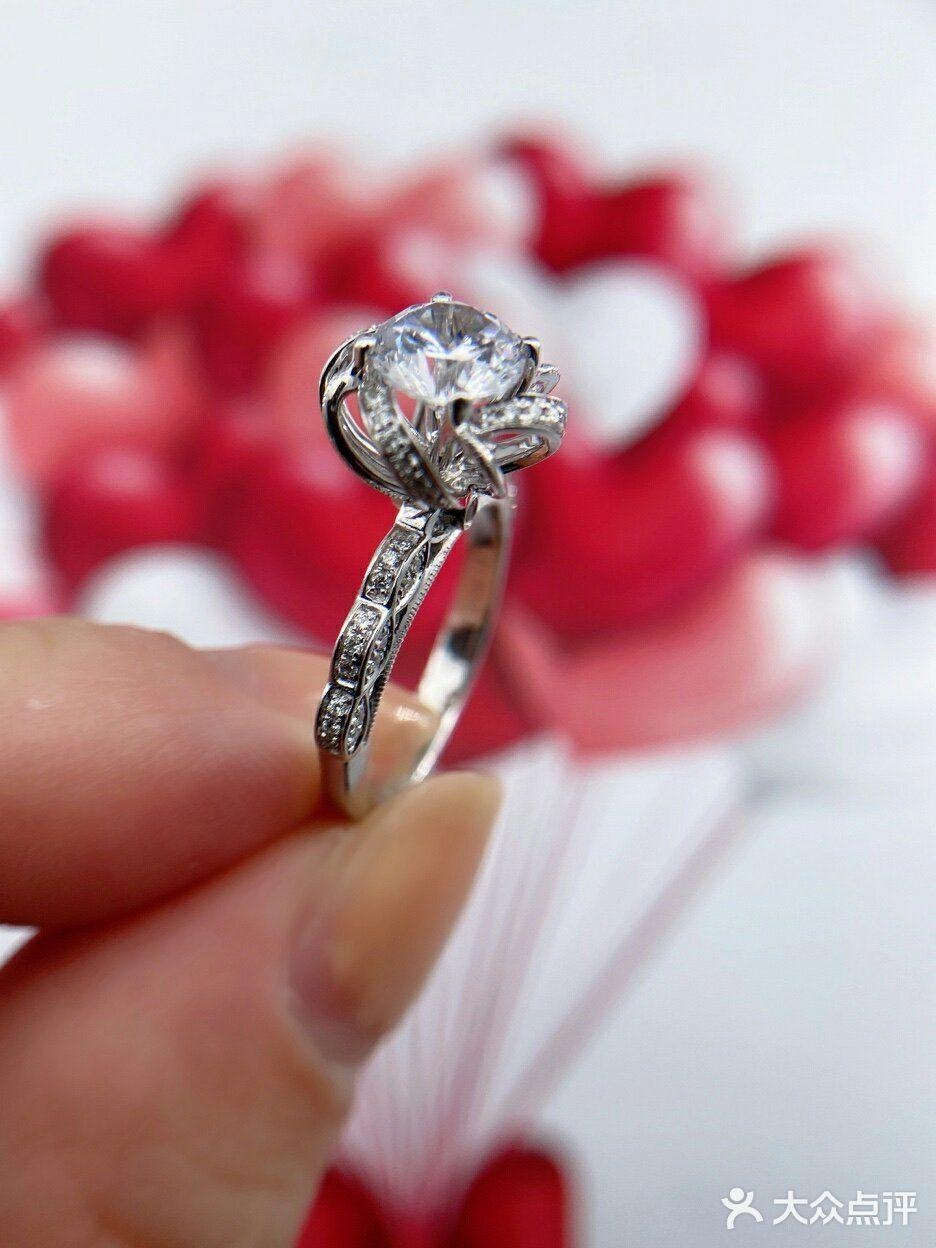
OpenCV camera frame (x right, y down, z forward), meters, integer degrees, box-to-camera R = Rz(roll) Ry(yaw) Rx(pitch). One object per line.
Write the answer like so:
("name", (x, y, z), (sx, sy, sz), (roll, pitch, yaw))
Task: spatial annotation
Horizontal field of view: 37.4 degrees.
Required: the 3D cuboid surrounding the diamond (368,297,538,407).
("diamond", (-0.011, -0.181, 0.916), (0.118, 0.116, 0.046), (4, 70, 9))
